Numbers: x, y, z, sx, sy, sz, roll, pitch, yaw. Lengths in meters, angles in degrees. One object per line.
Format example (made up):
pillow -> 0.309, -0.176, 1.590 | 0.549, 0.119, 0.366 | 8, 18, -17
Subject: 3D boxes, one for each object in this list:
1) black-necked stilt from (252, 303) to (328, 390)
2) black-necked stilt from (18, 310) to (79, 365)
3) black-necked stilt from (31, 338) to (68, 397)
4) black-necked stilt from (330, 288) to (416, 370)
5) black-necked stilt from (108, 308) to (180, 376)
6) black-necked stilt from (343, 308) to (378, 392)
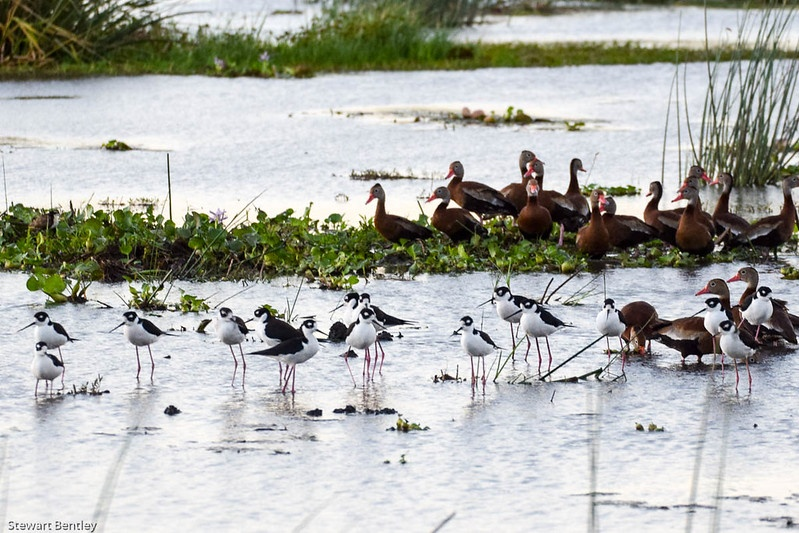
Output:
black-necked stilt -> -1.417, 1.076, 13.499 | 1.038, 0.841, 0.325 | 3, -23, -29
black-necked stilt -> -4.419, 0.874, 13.901 | 0.305, 0.599, 0.926 | 0, 4, 22
black-necked stilt -> -4.328, 1.276, 13.499 | 0.372, 0.586, 0.720 | 1, -8, 4
black-necked stilt -> -0.417, 1.016, 14.587 | 0.415, 0.947, 1.112 | -11, 8, 7
black-necked stilt -> -3.262, 1.006, 14.137 | 0.412, 0.878, 1.129 | -1, 1, 18
black-necked stilt -> -0.521, 0.957, 14.089 | 0.408, 0.955, 0.815 | -2, 12, -4
